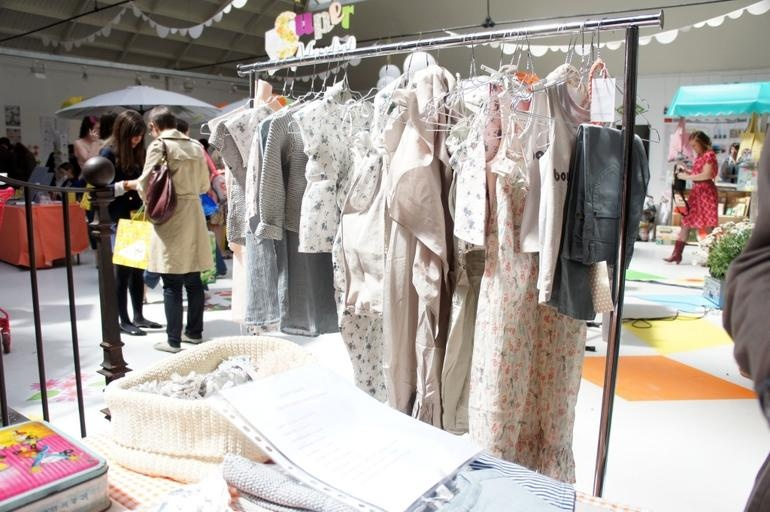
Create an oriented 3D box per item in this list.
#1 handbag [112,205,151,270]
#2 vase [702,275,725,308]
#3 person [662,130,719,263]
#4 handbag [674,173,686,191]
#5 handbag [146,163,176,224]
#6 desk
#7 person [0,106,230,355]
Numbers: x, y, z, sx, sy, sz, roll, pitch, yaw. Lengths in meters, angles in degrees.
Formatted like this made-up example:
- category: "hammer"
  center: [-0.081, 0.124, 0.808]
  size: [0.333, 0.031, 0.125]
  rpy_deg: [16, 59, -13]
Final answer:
- category: "handbag"
  center: [-1.870, -0.111, 3.995]
  size: [0.349, 0.358, 0.192]
  rpy_deg: [6, 13, 27]
- category: "vase"
  center: [3.544, 0.345, 5.626]
  size: [0.182, 0.309, 0.332]
  rpy_deg: [-4, 13, -2]
- category: "person"
  center: [4.583, -0.868, 7.794]
  size: [0.593, 1.907, 0.554]
  rpy_deg: [7, 13, 32]
- category: "handbag"
  center: [4.790, -1.224, 8.612]
  size: [0.119, 0.344, 0.240]
  rpy_deg: [-6, 7, 0]
- category: "handbag"
  center: [-1.578, -0.457, 3.720]
  size: [0.179, 0.458, 0.343]
  rpy_deg: [-2, 11, -31]
- category: "desk"
  center: [-3.915, -0.246, 6.010]
  size: [0.834, 0.615, 0.682]
  rpy_deg: [8, 9, 39]
- category: "person"
  center: [-1.732, -0.206, 4.144]
  size: [0.675, 1.866, 0.892]
  rpy_deg: [-8, 14, -37]
